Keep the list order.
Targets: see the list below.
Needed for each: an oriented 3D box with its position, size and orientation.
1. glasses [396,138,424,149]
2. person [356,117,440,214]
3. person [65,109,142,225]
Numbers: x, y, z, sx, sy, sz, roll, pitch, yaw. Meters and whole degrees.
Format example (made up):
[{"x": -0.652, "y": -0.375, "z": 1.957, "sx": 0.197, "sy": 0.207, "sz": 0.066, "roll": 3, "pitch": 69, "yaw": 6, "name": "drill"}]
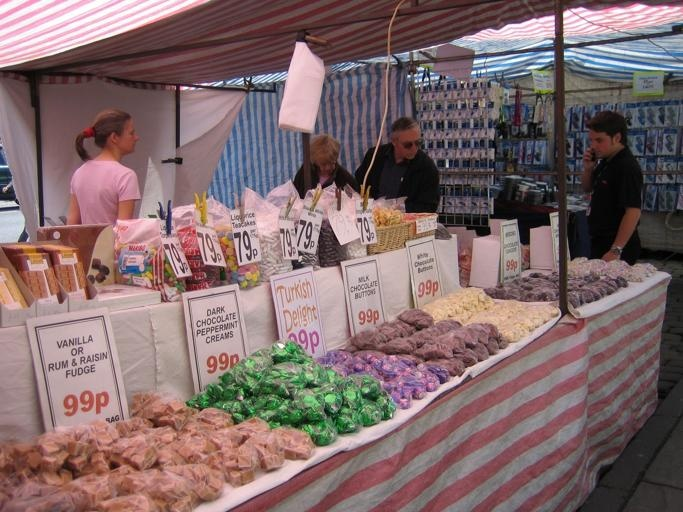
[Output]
[{"x": 0.734, "y": -1.115, "z": 4.917, "sx": 0.128, "sy": 0.085, "sz": 0.314, "roll": 6, "pitch": 15, "yaw": 39, "name": "glasses"}, {"x": 0.626, "y": -0.946, "z": 5.184, "sx": 0.461, "sy": 0.957, "sz": 0.742, "roll": -11, "pitch": 14, "yaw": -37, "name": "person"}, {"x": -1.810, "y": -0.670, "z": 3.704, "sx": 0.576, "sy": 0.850, "sz": 0.647, "roll": -9, "pitch": 13, "yaw": -29, "name": "person"}]
